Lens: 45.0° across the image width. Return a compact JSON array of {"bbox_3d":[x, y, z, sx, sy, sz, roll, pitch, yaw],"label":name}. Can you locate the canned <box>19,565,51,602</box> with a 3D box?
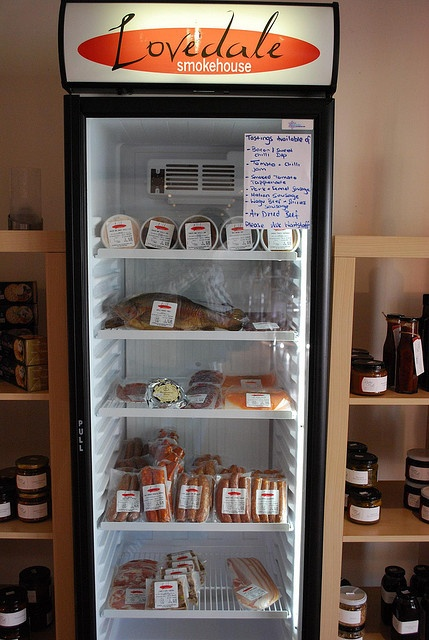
[{"bbox_3d":[-0.625,0.888,1.795,0.099,0.093,0.099,-2,1,-25],"label":"canned"}]

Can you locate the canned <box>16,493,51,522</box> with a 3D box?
[{"bbox_3d":[-0.554,0.579,1.594,0.087,0.085,0.089,1,2,16],"label":"canned"}]

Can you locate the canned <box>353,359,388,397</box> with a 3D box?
[{"bbox_3d":[0.457,0.170,1.530,0.097,0.091,0.099,3,6,36],"label":"canned"}]
